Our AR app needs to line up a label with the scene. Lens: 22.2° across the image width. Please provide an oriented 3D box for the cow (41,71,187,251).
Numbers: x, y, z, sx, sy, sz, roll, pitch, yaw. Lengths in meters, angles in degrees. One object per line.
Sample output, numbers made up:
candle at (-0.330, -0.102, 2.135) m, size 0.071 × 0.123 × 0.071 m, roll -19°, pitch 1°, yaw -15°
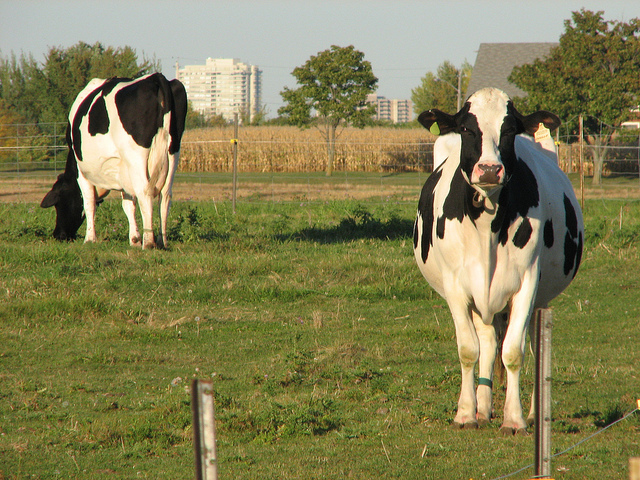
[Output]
cow at (-5.849, -2.251, 47.421) m, size 3.913 × 5.025 × 1.637 m, roll 2°, pitch 6°, yaw 38°

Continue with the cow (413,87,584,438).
cow at (4.434, 0.495, 40.909) m, size 3.707 × 8.504 × 2.070 m, roll -1°, pitch 5°, yaw 3°

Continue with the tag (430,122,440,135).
tag at (2.913, -2.777, 40.841) m, size 0.230 × 0.416 × 0.025 m, roll 2°, pitch -3°, yaw 0°
